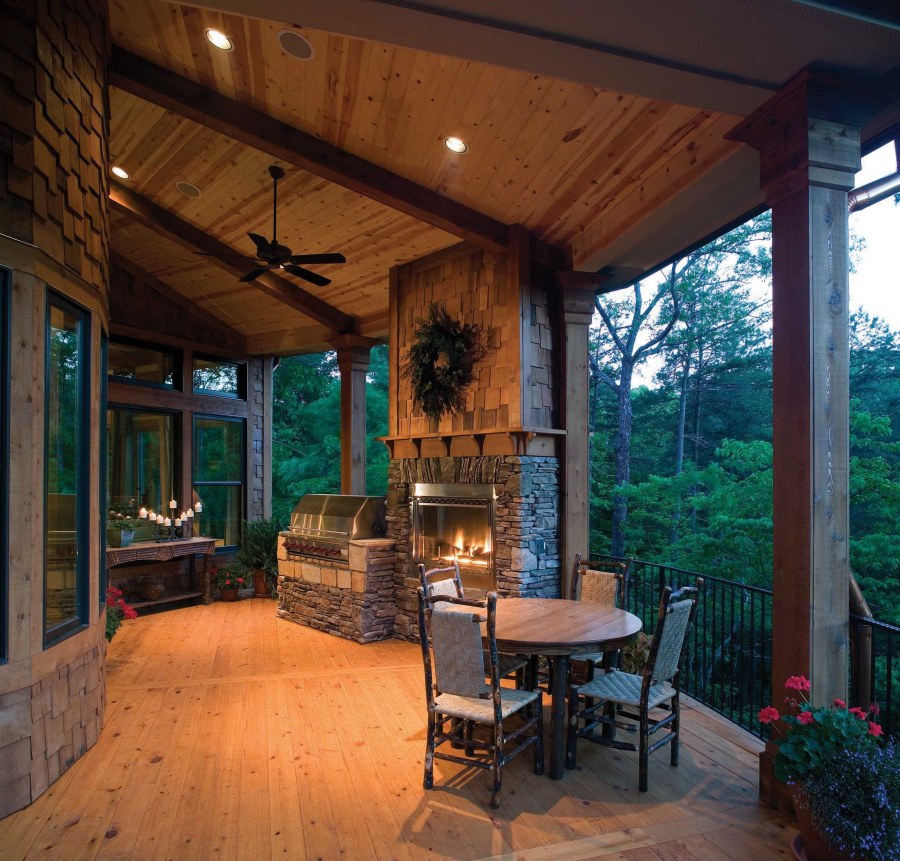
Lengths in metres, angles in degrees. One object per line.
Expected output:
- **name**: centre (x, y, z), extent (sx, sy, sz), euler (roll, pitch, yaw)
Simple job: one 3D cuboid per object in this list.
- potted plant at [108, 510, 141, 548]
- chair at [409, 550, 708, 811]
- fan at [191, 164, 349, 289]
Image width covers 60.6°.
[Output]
- **potted plant**: centre (-3.546, 1.041, 8.359), extent (0.363, 0.381, 0.384), euler (2, -2, -40)
- **chair**: centre (0.601, 1.380, 4.590), extent (1.373, 0.804, 1.380), euler (-1, -6, 12)
- **fan**: centre (-1.403, -1.693, 6.211), extent (0.893, 0.807, 0.846), euler (19, 33, 17)
